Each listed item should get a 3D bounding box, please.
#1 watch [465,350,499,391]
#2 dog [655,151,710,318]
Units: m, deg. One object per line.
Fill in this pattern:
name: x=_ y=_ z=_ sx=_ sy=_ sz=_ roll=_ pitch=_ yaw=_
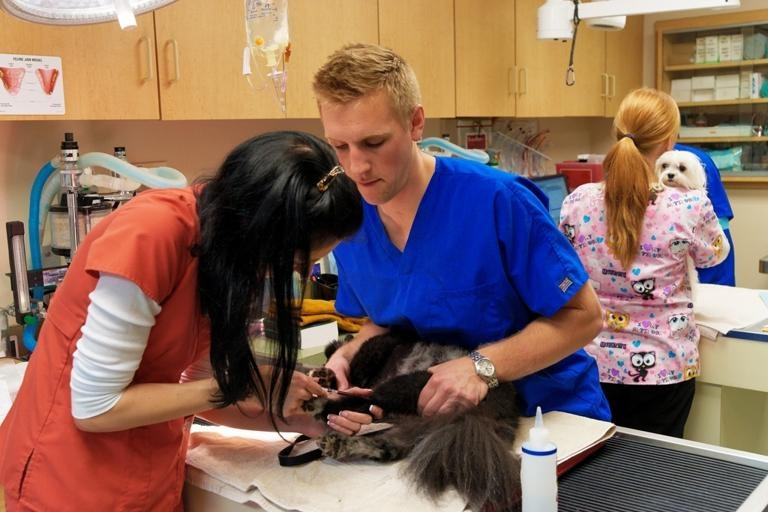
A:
watch: x=0.271 y=0.308 z=1.744 sx=0.033 sy=0.073 sz=0.093 roll=-33 pitch=-30 yaw=-1
dog: x=1.371 y=-0.116 z=2.771 sx=0.190 sy=0.757 sz=0.380 roll=-3 pitch=0 yaw=39
